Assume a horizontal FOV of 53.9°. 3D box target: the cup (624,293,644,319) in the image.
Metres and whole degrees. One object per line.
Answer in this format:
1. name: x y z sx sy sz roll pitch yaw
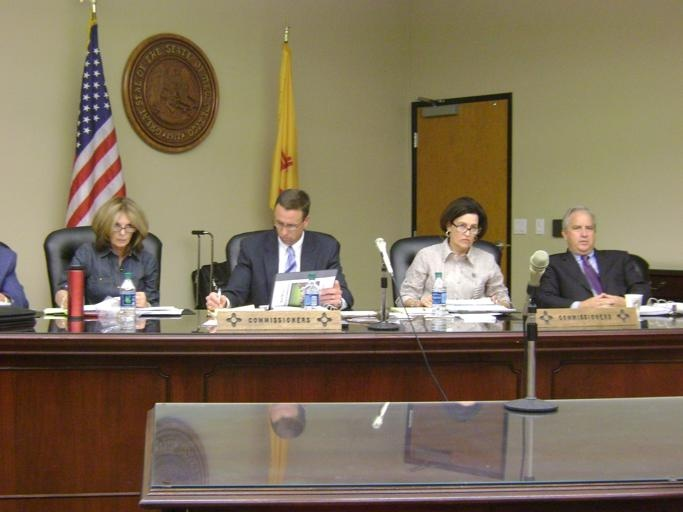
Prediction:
1. cup: 1.257 0.222 2.906 0.094 0.113 0.101 0 -1 0

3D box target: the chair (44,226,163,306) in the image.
1. chair: -1.277 0.066 3.716 0.427 0.605 0.501 2 -9 -14

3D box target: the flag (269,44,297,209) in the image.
1. flag: -0.410 -0.962 4.945 0.190 1.202 0.374 0 8 -4

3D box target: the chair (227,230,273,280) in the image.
1. chair: -0.483 -0.008 3.739 0.204 0.296 0.246 -1 -8 -8

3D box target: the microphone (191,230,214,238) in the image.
1. microphone: -0.956 -0.150 4.674 0.058 0.074 0.250 -1 4 -41

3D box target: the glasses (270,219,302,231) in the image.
1. glasses: -0.284 -0.157 3.486 0.162 0.048 0.156 3 8 12

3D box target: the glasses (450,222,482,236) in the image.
1. glasses: 0.682 -0.137 3.539 0.190 0.074 0.088 -2 9 -25
